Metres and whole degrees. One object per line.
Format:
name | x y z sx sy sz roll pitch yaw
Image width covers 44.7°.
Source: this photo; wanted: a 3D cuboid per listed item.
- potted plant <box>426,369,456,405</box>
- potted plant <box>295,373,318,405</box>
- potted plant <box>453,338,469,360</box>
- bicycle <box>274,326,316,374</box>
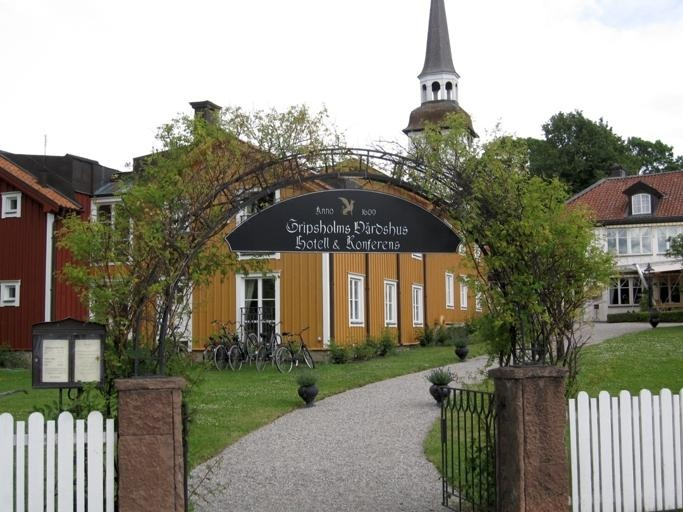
potted plant | 1.889 2.487 15.820 0.432 0.677 0.422 4 -6 15
potted plant | -0.687 2.715 16.810 0.403 0.649 0.490 -3 7 -4
potted plant | 3.540 2.719 24.272 0.488 0.784 0.524 0 -5 8
bicycle | -1.213 2.509 22.124 0.670 1.100 1.616 -18 -13 37
